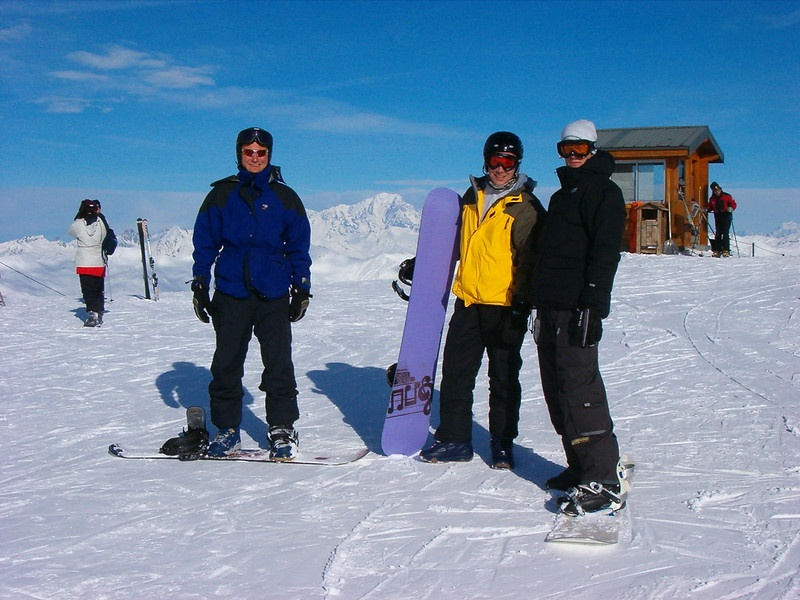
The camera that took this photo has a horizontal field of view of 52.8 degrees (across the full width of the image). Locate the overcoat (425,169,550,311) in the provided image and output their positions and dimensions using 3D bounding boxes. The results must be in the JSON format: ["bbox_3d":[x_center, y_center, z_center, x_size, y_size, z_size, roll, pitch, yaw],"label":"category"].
[{"bbox_3d":[0.711,-0.420,5.804,0.628,0.886,0.475,3,16,17],"label":"overcoat"}]

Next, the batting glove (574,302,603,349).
[{"bbox_3d":[1.203,0.173,5.108,0.203,0.219,0.066,0,-1,17],"label":"batting glove"}]

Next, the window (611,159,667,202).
[{"bbox_3d":[6.052,-3.023,20.518,0.162,1.019,1.591,-12,13,-36],"label":"window"}]

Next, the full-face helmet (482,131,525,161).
[{"bbox_3d":[0.723,-1.070,5.656,0.253,0.203,0.189,-1,15,3],"label":"full-face helmet"}]

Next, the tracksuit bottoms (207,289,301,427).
[{"bbox_3d":[-1.116,0.463,5.977,0.653,1.070,0.405,-5,16,-11],"label":"tracksuit bottoms"}]

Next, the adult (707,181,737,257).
[{"bbox_3d":[7.258,-1.790,18.329,0.592,1.694,0.997,3,16,19],"label":"adult"}]

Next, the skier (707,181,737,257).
[{"bbox_3d":[7.249,-1.786,18.314,0.594,1.694,0.941,4,16,19],"label":"skier"}]

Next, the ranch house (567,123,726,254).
[{"bbox_3d":[6.493,-2.983,21.365,3.514,2.720,3.056,4,10,40],"label":"ranch house"}]

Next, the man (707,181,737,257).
[{"bbox_3d":[7.258,-1.790,18.329,0.592,1.694,0.997,3,16,19],"label":"man"}]

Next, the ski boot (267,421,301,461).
[{"bbox_3d":[-0.862,1.045,5.924,0.216,0.217,0.244,-5,15,-11],"label":"ski boot"}]

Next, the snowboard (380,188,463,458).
[{"bbox_3d":[0.169,0.207,6.099,0.480,2.213,0.359,12,7,1],"label":"snowboard"}]
